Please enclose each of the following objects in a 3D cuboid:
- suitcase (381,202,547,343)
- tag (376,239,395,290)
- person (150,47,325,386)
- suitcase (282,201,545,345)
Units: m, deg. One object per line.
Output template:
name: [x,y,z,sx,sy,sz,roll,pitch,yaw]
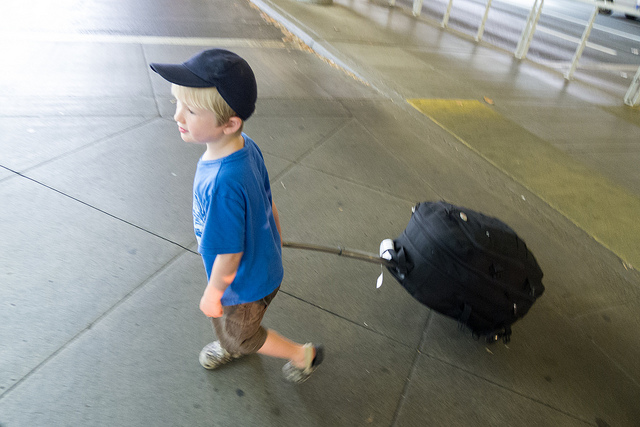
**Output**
suitcase: [1.241,0.444,3.757,1.424,0.703,1.082,22,22,-24]
tag: [0.519,0.410,3.548,0.134,0.352,0.215,16,7,0]
person: [-0.528,0.168,2.971,1.080,2.260,0.822,-2,24,-15]
suitcase: [0.812,0.403,3.676,1.854,0.623,1.093,17,21,4]
